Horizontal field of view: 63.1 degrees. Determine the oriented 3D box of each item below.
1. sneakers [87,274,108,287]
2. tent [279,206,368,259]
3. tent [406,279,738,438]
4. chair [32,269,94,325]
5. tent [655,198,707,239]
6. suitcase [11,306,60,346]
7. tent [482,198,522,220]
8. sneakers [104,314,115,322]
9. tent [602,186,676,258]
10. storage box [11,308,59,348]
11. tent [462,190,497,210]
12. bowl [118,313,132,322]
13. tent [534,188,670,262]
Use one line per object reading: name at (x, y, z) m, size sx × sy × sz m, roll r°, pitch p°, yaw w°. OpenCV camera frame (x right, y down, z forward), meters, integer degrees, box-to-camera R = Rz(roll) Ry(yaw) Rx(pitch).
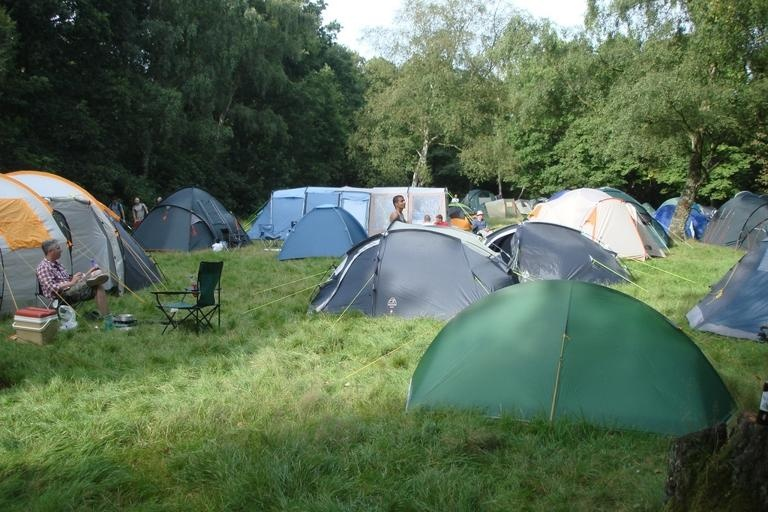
sneakers at (-5.494, 0.445, 11.939) m, size 0.350 × 0.203 × 0.162 m, roll -15°, pitch 42°, yaw -21°
tent at (-2.060, -0.595, 18.854) m, size 1.843 × 0.954 × 1.899 m, roll 0°, pitch 6°, yaw 20°
tent at (2.750, 1.480, 8.677) m, size 3.016 × 1.086 × 2.549 m, roll 4°, pitch 7°, yaw 37°
chair at (-6.086, 0.533, 11.789) m, size 0.948 × 0.766 × 0.668 m, roll 4°, pitch 8°, yaw -3°
tent at (11.258, -1.354, 23.465) m, size 1.834 × 1.463 × 1.914 m, roll -3°, pitch 15°, yaw 6°
suitcase at (-6.020, 1.167, 10.902) m, size 0.679 × 0.521 × 0.588 m, roll 6°, pitch 10°, yaw 20°
tent at (6.903, -2.637, 35.788) m, size 1.704 × 0.873 × 1.525 m, roll -5°, pitch 16°, yaw -23°
sneakers at (-5.151, 1.157, 11.665) m, size 0.158 × 0.140 × 0.217 m, roll -2°, pitch 11°, yaw -26°
tent at (8.227, -0.852, 20.830) m, size 2.492 × 1.146 × 2.578 m, roll 7°, pitch 14°, yaw 25°
storage box at (-6.085, 1.222, 10.928) m, size 0.652 × 0.472 × 0.539 m, roll 5°, pitch 7°, yaw 19°
tent at (5.292, -3.203, 35.916) m, size 1.821 × 0.713 × 1.774 m, roll 3°, pitch 9°, yaw 38°
bowl at (-4.923, 1.180, 11.841) m, size 0.302 × 0.124 × 0.223 m, roll -1°, pitch 10°, yaw -23°
tent at (6.076, -1.067, 18.494) m, size 2.946 × 1.170 × 2.789 m, roll 8°, pitch 14°, yaw 36°
